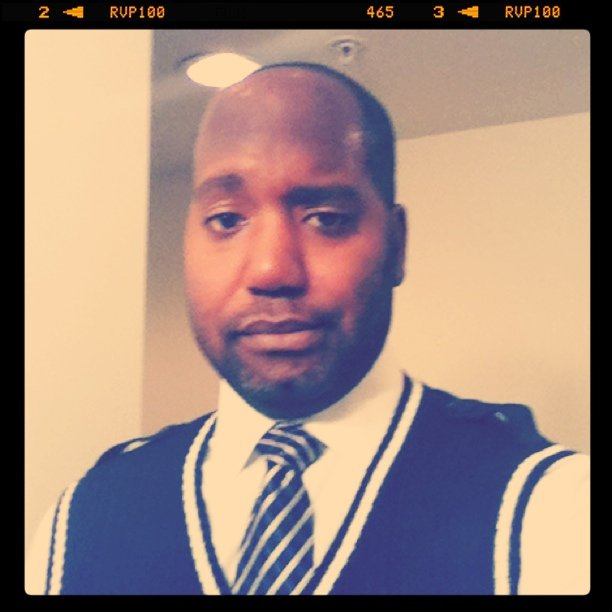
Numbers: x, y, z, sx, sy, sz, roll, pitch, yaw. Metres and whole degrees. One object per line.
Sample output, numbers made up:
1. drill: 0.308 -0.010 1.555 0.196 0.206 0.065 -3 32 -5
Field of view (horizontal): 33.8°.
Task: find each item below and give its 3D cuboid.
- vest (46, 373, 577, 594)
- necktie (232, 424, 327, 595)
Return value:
1. vest: 0.033 0.651 3.659 1.849 0.784 0.170 0 3 0
2. necktie: -0.094 0.750 3.634 0.255 0.653 0.055 4 -13 12
